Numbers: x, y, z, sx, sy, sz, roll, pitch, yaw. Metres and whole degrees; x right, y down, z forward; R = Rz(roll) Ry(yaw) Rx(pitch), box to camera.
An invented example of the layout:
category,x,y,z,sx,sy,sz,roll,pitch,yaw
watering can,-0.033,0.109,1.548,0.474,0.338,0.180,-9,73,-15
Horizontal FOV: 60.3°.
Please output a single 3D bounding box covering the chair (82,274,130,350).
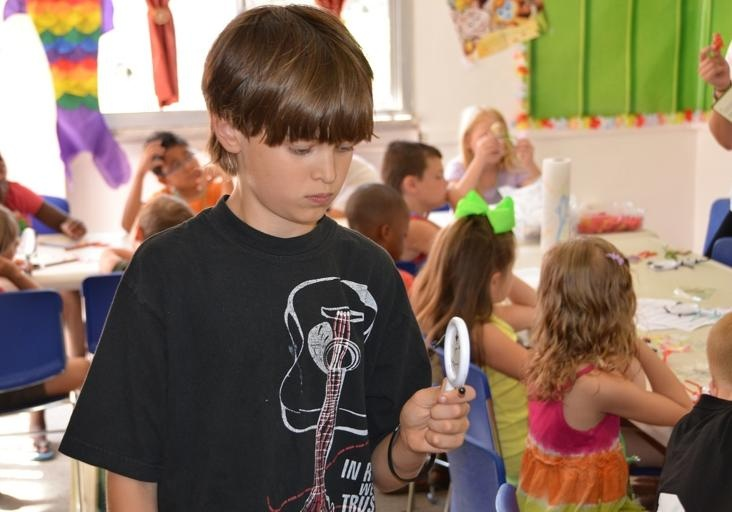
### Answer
category,x,y,z,sx,sy,sz,roll,pitch,yaw
chair,-1.141,0.234,2.802,0.215,0.347,0.200,-7,18,-37
